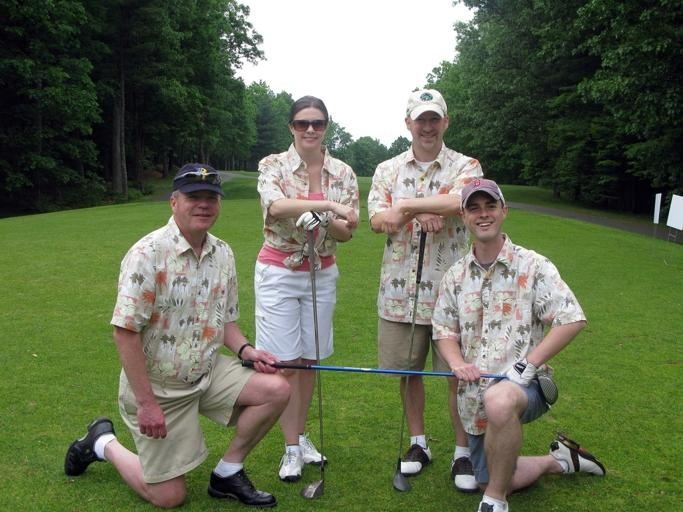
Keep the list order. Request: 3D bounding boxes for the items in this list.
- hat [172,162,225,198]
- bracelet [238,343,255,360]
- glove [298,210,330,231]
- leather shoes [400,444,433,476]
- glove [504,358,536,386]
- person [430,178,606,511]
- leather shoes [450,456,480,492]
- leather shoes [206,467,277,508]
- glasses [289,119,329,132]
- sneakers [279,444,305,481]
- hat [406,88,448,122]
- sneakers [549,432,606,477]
[{"bbox_3d":[-1.226,-0.663,5.243,0.372,0.257,0.485,0,6,-30],"label":"hat"},{"bbox_3d":[-0.860,0.837,5.455,0.038,0.128,0.135,38,24,-15],"label":"bracelet"},{"bbox_3d":[-0.249,-0.313,5.340,0.151,0.097,0.239,-5,6,22],"label":"glove"},{"bbox_3d":[0.679,1.846,5.619,0.213,0.210,0.516,-1,2,30],"label":"leather shoes"},{"bbox_3d":[1.459,0.934,4.984,0.252,0.211,0.207,5,9,16],"label":"glove"},{"bbox_3d":[1.390,0.723,5.071,1.293,2.665,0.943,4,9,9],"label":"person"},{"bbox_3d":[1.115,1.907,5.451,0.234,0.222,0.544,6,1,11],"label":"leather shoes"},{"bbox_3d":[-0.836,1.926,5.192,0.569,0.273,0.250,7,-5,6],"label":"leather shoes"},{"bbox_3d":[-0.311,-1.203,5.610,0.336,0.113,0.127,1,9,-6],"label":"glasses"},{"bbox_3d":[-0.445,1.845,5.578,0.204,0.197,0.535,-1,8,9],"label":"sneakers"},{"bbox_3d":[0.769,-1.377,5.547,0.352,0.302,0.365,4,9,9],"label":"hat"},{"bbox_3d":[2.076,1.795,5.461,0.667,0.286,0.237,22,-13,-22],"label":"sneakers"}]
